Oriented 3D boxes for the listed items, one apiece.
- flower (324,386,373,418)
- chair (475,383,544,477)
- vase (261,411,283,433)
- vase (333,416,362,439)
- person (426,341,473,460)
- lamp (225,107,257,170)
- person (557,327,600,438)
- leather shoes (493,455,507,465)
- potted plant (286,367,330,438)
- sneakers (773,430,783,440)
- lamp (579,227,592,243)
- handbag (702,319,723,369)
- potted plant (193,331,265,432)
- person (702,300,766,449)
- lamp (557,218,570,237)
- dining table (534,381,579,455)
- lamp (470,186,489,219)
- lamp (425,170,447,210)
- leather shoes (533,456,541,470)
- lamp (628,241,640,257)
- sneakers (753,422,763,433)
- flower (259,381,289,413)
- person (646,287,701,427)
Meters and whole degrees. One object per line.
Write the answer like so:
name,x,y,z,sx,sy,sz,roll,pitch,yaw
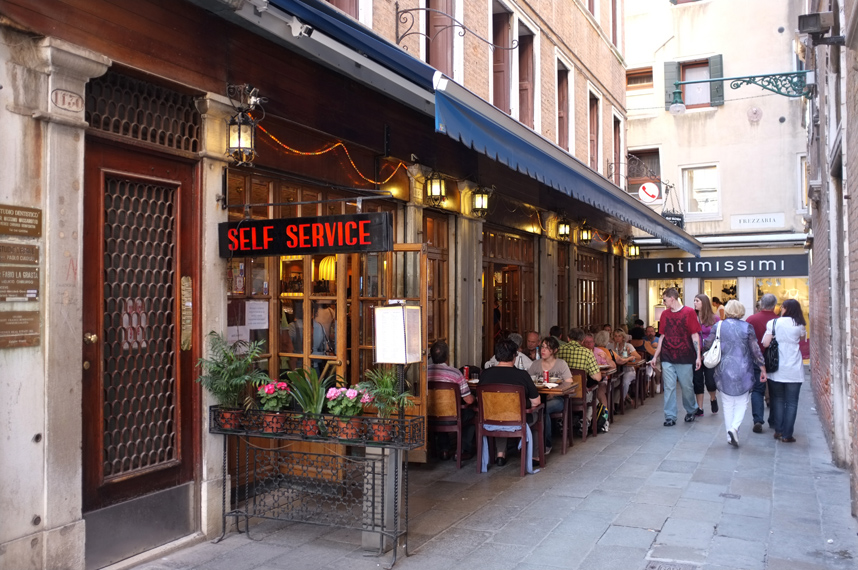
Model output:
flower,-0.830,1.151,7.809,0.314,0.247,0.328,0,5,-13
chair,0.977,1.873,10.012,0.983,1.440,1.009,-1,1,14
vase,-1.586,1.406,7.910,0.180,0.148,0.190,0,-6,-2
vase,-0.793,1.432,7.751,0.203,0.167,0.216,-1,-8,5
person,0.351,1.541,10.415,0.521,1.589,0.767,-6,-4,35
lamp,-1.960,-1.570,8.175,0.297,0.551,0.405,-3,-3,2
person,2.354,1.542,12.455,0.866,1.773,0.924,5,7,16
leather shoes,0.982,2.383,10.478,0.097,0.130,0.135,1,-21,2
potted plant,-1.401,1.203,7.950,0.654,0.714,0.551,6,-14,-29
sneakers,5.247,2.266,11.621,0.114,0.139,0.329,-4,-7,8
lamp,3.603,-1.160,17.729,0.285,0.571,0.306,-2,8,1
handbag,4.272,0.905,11.653,0.233,0.843,0.751,10,-11,16
potted plant,-2.104,1.013,8.249,0.891,1.261,0.842,1,-7,-18
person,4.410,1.284,11.144,0.794,2.120,0.491,-4,-4,20
lamp,2.835,-1.193,16.291,0.246,0.378,0.234,-2,-4,-14
dining table,1.608,1.928,10.952,0.836,0.949,0.965,-4,-2,21
lamp,0.842,-1.351,12.532,0.267,0.414,0.370,-5,-4,22
lamp,0.108,-1.405,11.309,0.239,0.470,0.383,-4,-4,16
leather shoes,1.468,2.426,10.481,0.095,0.176,0.167,8,-9,-34
lamp,5.894,-1.043,22.376,0.266,0.392,0.467,-5,-4,30
sneakers,5.191,2.269,12.198,0.088,0.102,0.231,-2,-12,11
flower,-1.606,1.158,7.979,0.274,0.211,0.280,-2,0,44
person,4.188,1.188,12.954,0.754,2.280,0.920,-5,-4,26
